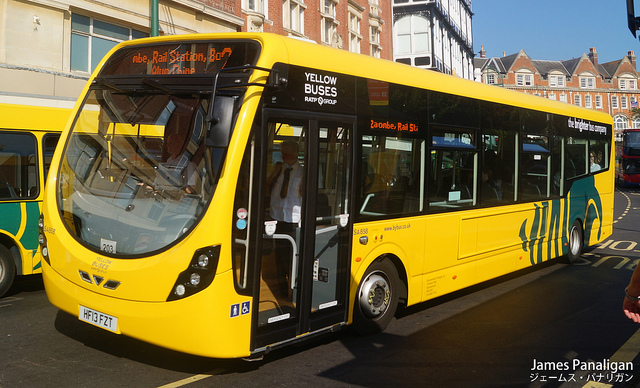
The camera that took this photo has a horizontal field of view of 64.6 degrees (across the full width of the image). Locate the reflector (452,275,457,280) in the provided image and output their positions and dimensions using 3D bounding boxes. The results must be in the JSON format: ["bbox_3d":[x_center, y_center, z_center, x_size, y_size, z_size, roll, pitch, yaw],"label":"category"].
[{"bbox_3d":[2.575,1.595,9.667,0.133,0.086,0.005,-6,11,-37],"label":"reflector"}]

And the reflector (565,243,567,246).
[{"bbox_3d":[6.224,1.284,12.819,0.126,0.085,0.007,-7,12,-43],"label":"reflector"}]

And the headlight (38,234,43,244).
[{"bbox_3d":[-4.279,0.692,7.768,0.048,0.135,0.097,2,8,-14],"label":"headlight"}]

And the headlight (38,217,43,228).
[{"bbox_3d":[-4.288,0.441,7.815,0.036,0.126,0.123,-9,-24,-40],"label":"headlight"}]

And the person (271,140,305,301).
[{"bbox_3d":[-0.484,0.368,7.626,0.486,2.341,0.774,0,9,-6],"label":"person"}]

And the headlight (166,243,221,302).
[{"bbox_3d":[-1.617,1.051,6.833,0.273,0.808,0.566,34,-17,-29],"label":"headlight"}]

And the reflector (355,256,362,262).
[{"bbox_3d":[0.626,1.052,8.155,0.147,0.089,0.012,-7,12,-41],"label":"reflector"}]
